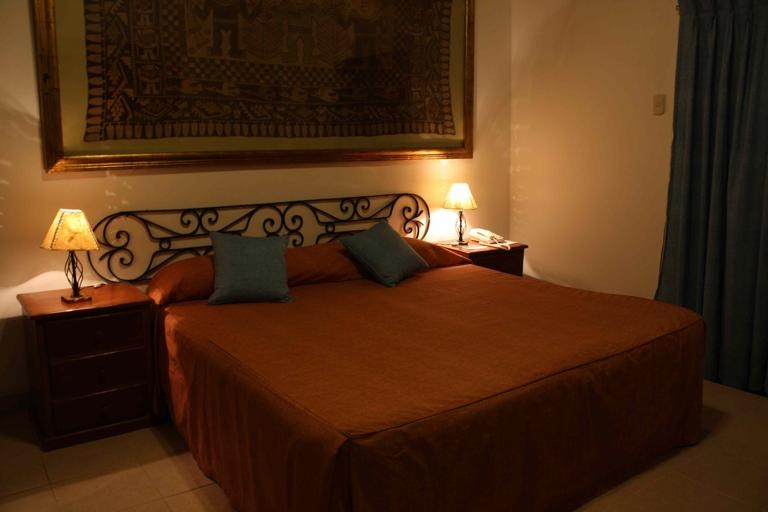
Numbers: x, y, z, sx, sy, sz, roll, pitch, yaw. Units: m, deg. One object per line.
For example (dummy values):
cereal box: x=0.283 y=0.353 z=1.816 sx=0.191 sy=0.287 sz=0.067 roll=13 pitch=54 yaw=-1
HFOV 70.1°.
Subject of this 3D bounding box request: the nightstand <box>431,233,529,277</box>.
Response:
nightstand: x=0.907 y=-0.083 z=5.022 sx=0.473 sy=0.498 sz=0.478 roll=-8 pitch=15 yaw=-33
